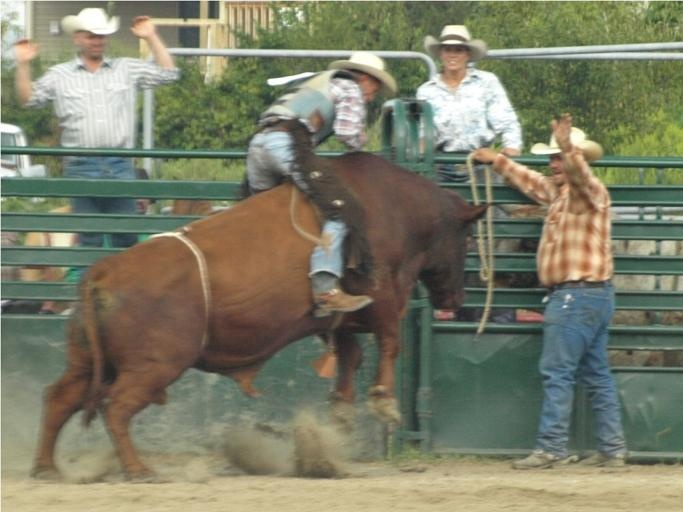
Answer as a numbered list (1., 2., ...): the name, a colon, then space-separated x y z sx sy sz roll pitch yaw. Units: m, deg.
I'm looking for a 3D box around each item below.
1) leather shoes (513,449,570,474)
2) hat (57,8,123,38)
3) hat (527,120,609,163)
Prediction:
1. leather shoes: 2.294 2.334 22.754 0.685 0.241 0.228 0 -4 -5
2. hat: -3.071 -2.832 24.069 0.453 0.195 0.525 0 -5 -32
3. hat: 2.623 -1.342 22.876 0.514 0.199 0.571 -5 -12 38
